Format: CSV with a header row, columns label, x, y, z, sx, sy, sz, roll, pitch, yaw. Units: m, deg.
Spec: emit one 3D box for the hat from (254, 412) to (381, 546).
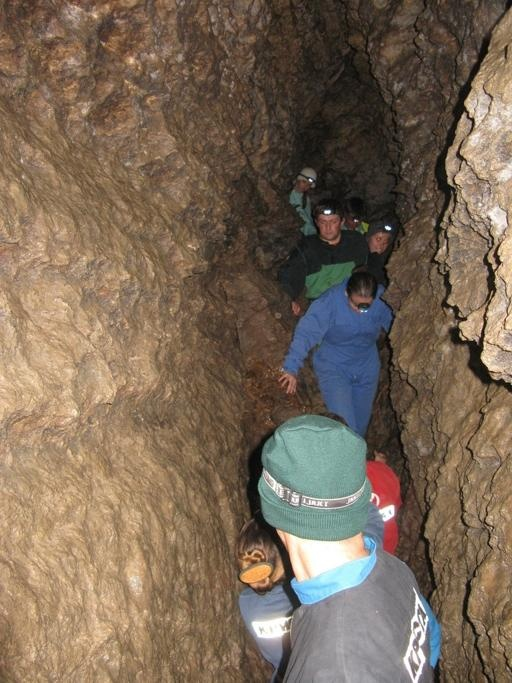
label,x,y,z,sx,sy,sz,roll,pitch,yaw
hat,0.149,0.411,2.512,0.394,0.339,0.375,-5,29,-7
